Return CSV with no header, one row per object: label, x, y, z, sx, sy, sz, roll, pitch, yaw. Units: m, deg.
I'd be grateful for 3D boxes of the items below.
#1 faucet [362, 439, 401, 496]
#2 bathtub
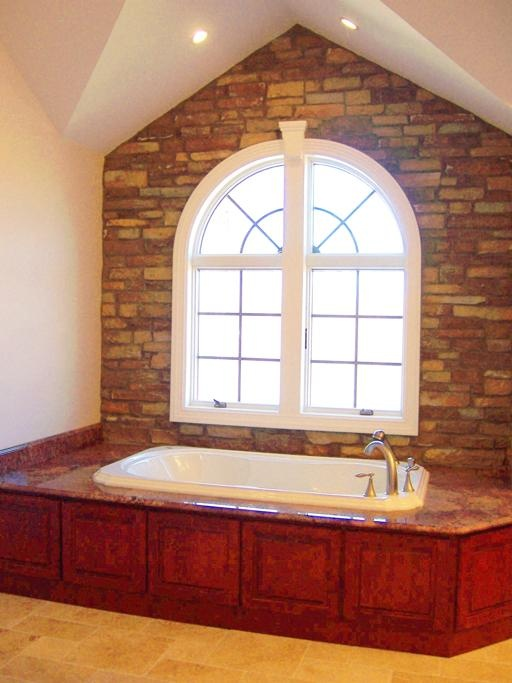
faucet,0.608,0.606,3.060,0.160,0.253,0.290,1,-2,9
bathtub,0.058,0.773,3.705,1.304,0.230,0.720,0,2,17
